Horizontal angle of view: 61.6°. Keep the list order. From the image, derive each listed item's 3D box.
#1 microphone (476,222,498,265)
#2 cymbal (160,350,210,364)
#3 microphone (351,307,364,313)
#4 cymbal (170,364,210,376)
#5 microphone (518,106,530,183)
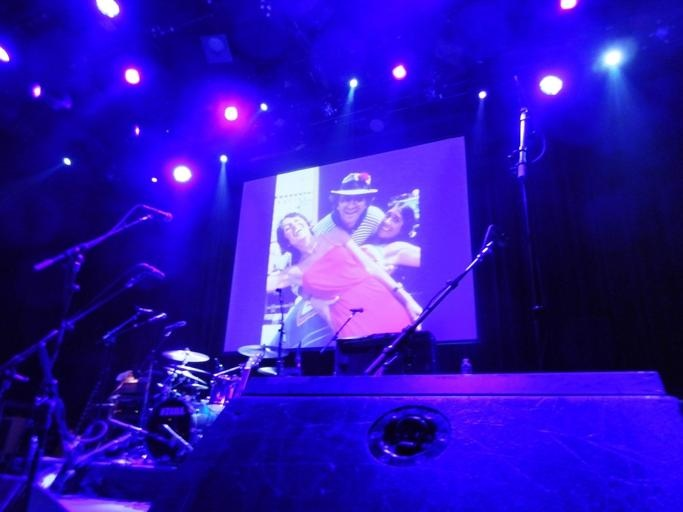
[{"bbox_3d":[1.258,-0.088,4.955,0.102,0.417,0.109,16,-17,34],"label":"microphone"},{"bbox_3d":[-1.503,0.978,5.546,0.249,0.061,0.250,16,-18,-13],"label":"cymbal"},{"bbox_3d":[0.139,0.508,5.294,0.061,0.064,0.176,8,-9,-18],"label":"microphone"},{"bbox_3d":[-1.416,1.085,5.379,0.253,0.053,0.265,9,-12,30],"label":"cymbal"},{"bbox_3d":[1.461,-0.893,4.624,0.091,0.722,0.154,2,-28,12],"label":"microphone"}]
